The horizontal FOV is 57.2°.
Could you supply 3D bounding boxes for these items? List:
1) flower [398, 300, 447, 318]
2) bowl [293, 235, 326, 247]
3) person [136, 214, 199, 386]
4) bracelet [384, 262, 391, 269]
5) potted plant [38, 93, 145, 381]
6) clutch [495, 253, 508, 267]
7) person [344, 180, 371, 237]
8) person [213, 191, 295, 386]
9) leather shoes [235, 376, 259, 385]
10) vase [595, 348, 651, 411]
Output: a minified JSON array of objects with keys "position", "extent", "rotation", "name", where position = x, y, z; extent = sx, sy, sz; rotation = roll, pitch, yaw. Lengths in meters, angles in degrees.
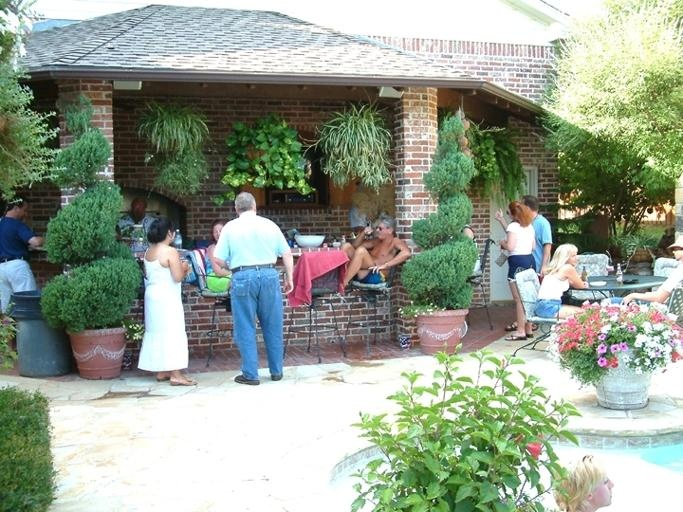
[{"position":[1.146,0.775,8.719],"extent":[0.633,0.205,0.229],"rotation":[0,5,9],"name":"flower"},{"position":[-0.497,-0.222,9.809],"extent":[0.403,0.178,0.336],"rotation":[4,7,43],"name":"bowl"},{"position":[-2.059,0.528,7.276],"extent":[0.655,1.934,0.250],"rotation":[-2,5,-8],"name":"person"},{"position":[0.660,0.136,9.125],"extent":[0.029,0.094,0.069],"rotation":[24,-33,-35],"name":"bracelet"},{"position":[-3.004,-0.223,7.520],"extent":[1.018,3.423,0.855],"rotation":[0,5,12],"name":"potted plant"},{"position":[3.333,0.065,13.102],"extent":[0.178,0.236,0.025],"rotation":[34,-5,-9],"name":"clutch"},{"position":[0.294,-0.888,11.801],"extent":[0.548,0.891,0.318],"rotation":[-1,10,-17],"name":"person"},{"position":[-1.023,0.375,7.320],"extent":[0.903,2.216,0.404],"rotation":[-2,5,-10],"name":"person"},{"position":[-1.110,1.454,7.381],"extent":[0.281,0.119,0.112],"rotation":[9,10,35],"name":"leather shoes"},{"position":[2.875,1.187,6.189],"extent":[0.599,0.474,0.541],"rotation":[-1,0,-16],"name":"vase"}]
